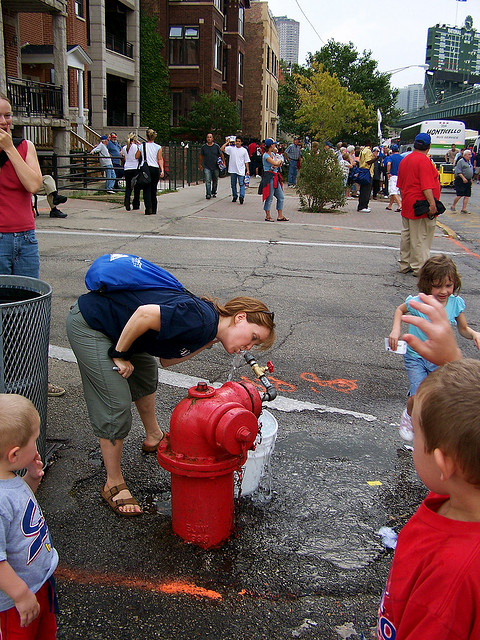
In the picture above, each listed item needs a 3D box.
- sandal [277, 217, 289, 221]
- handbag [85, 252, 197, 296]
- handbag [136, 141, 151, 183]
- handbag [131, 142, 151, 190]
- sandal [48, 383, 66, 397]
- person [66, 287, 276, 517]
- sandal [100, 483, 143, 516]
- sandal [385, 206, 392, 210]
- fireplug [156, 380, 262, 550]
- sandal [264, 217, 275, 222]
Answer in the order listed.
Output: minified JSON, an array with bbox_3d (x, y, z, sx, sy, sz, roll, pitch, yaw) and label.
[{"bbox_3d":[1.130,-2.650,14.369,0.193,0.074,0.352,12,17,33],"label":"sandal"},{"bbox_3d":[-0.516,-0.216,2.636,0.338,0.078,0.275,7,18,-17],"label":"handbag"},{"bbox_3d":[-2.412,-3.891,13.550,0.374,0.947,0.217,11,17,29],"label":"handbag"},{"bbox_3d":[-2.442,-3.843,13.667,0.309,1.101,0.537,-9,19,-39],"label":"handbag"},{"bbox_3d":[-1.410,0.547,4.256,0.172,0.070,0.067,1,14,-3],"label":"sandal"},{"bbox_3d":[-0.523,0.182,3.127,1.290,1.243,1.042,8,24,1],"label":"person"},{"bbox_3d":[-0.634,0.933,2.911,0.253,0.098,0.105,12,18,44],"label":"sandal"},{"bbox_3d":[5.017,-3.790,18.544,0.122,0.130,0.366,1,21,3],"label":"sandal"},{"bbox_3d":[-0.159,0.675,2.598,0.478,0.776,0.375,3,14,1],"label":"fireplug"},{"bbox_3d":[0.761,-2.621,14.236,0.261,0.099,0.421,3,14,1],"label":"sandal"}]
